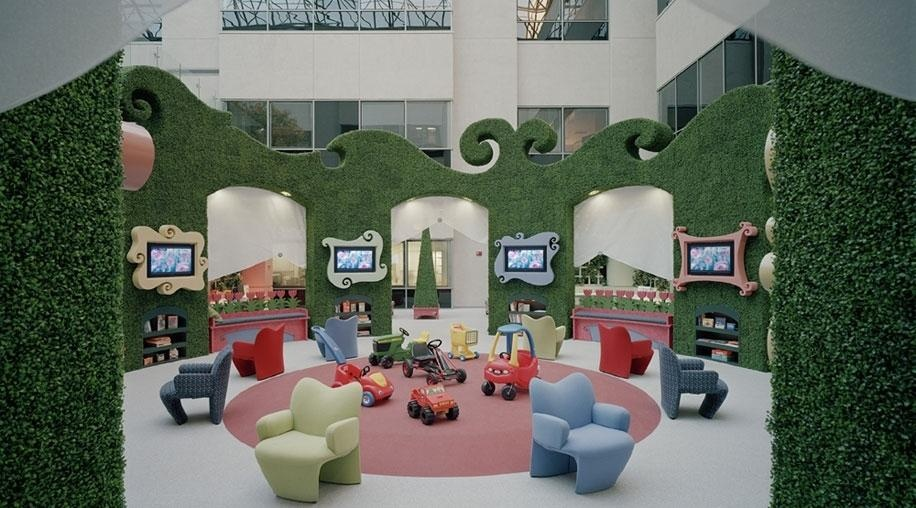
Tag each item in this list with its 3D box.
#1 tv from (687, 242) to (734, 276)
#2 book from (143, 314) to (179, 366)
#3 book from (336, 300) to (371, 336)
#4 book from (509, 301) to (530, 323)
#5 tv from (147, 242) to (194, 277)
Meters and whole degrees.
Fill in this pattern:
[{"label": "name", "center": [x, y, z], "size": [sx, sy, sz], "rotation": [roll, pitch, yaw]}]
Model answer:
[{"label": "tv", "center": [5.721, 0.096, 14.360], "size": [0.710, 0.747, 0.733], "rotation": [5, 83, 0]}, {"label": "book", "center": [-6.551, 1.870, 14.018], "size": [0.339, 1.071, 1.026], "rotation": [-1, 88, 23]}, {"label": "book", "center": [-2.677, 1.596, 16.203], "size": [0.872, 0.422, 0.900], "rotation": [1, 86, -13]}, {"label": "book", "center": [1.571, 1.491, 16.480], "size": [0.471, 0.703, 0.245], "rotation": [1, 93, 7]}, {"label": "tv", "center": [-6.247, 0.123, 13.926], "size": [0.681, 0.926, 0.767], "rotation": [-3, 82, -1]}]
